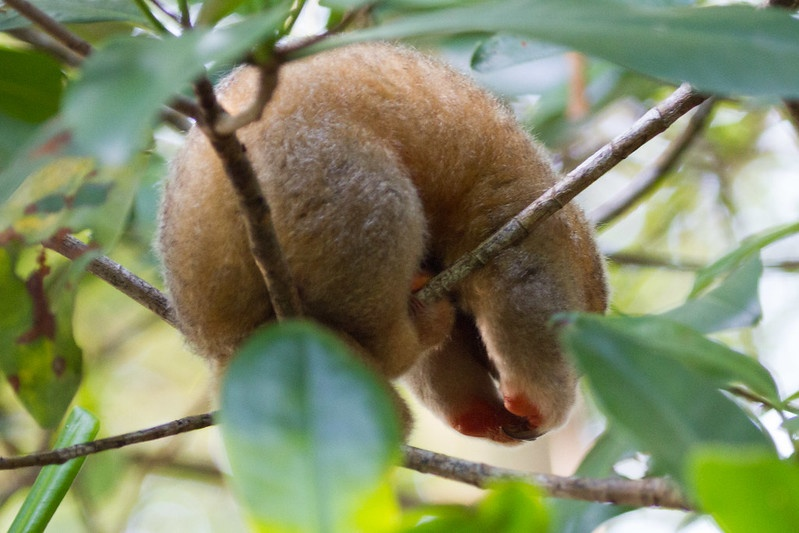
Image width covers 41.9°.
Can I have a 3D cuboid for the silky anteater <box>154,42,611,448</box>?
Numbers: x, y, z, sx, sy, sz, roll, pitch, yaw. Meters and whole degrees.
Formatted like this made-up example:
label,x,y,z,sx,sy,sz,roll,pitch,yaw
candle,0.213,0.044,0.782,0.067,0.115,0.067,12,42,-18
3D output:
label,x,y,z,sx,sy,sz,roll,pitch,yaw
silky anteater,-0.023,-0.046,2.912,1.187,1.099,0.745,0,50,10
